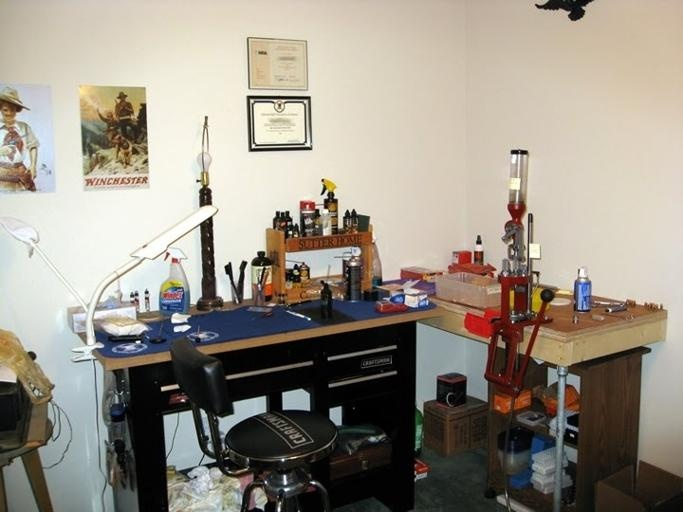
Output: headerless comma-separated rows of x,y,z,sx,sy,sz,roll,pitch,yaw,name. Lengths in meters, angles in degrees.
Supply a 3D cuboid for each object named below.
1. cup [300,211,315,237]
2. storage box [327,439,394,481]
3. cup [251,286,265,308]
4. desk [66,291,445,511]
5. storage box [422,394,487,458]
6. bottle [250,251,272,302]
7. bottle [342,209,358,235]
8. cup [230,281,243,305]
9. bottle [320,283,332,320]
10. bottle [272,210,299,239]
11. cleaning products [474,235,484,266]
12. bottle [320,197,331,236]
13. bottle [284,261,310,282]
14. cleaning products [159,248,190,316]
-0.210,-0.205,3.610,0.096,0.149,0.102,-1,9,0,cup
0.101,1.168,3.304,0.220,0.089,0.224,-5,-6,-25,storage box
-0.504,0.239,3.482,0.093,0.185,0.125,1,2,-13,cup
-0.446,0.415,3.287,1.902,1.421,0.973,-5,12,-31,desk
0.821,1.186,4.117,0.438,0.315,0.255,-4,9,-36,storage box
-0.490,0.120,3.549,0.147,0.313,0.151,1,14,0,bottle
0.049,-0.221,3.696,0.096,0.134,0.114,3,10,23,bottle
-0.627,0.229,3.495,0.099,0.176,0.106,-1,2,0,cup
-0.088,0.246,3.253,0.069,0.216,0.070,-2,14,0,bottle
-0.358,-0.193,3.585,0.169,0.266,0.087,-1,3,-24,bottle
0.979,-0.042,4.151,0.071,0.204,0.222,1,10,13,cleaning products
-0.101,-0.246,3.655,0.065,0.209,0.123,-6,10,-24,bottle
-0.281,0.103,3.573,0.158,0.108,0.065,-7,11,-27,bottle
-0.962,0.154,3.313,0.166,0.415,0.088,5,20,-9,cleaning products
